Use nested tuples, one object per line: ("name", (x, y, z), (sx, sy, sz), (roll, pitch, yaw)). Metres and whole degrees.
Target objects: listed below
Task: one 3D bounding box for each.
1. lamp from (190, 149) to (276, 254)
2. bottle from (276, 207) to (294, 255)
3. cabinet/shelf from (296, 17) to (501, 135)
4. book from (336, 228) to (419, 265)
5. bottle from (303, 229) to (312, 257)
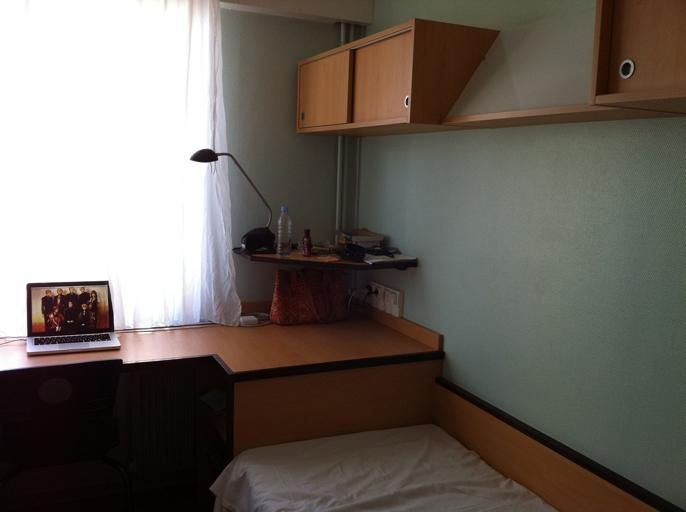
("lamp", (-0.632, -0.325, 3.092), (0.562, 0.590, 0.357), (-3, 11, -27))
("bottle", (-0.361, -0.180, 3.217), (0.093, 0.275, 0.390), (1, 11, -7))
("cabinet/shelf", (0.203, -0.945, 2.953), (0.429, 0.490, 1.365), (-5, 13, -27))
("book", (0.177, -0.038, 3.052), (0.237, 0.108, 0.334), (-3, 12, -28))
("bottle", (-0.213, -0.081, 3.137), (0.049, 0.147, 0.109), (1, 10, -4))
